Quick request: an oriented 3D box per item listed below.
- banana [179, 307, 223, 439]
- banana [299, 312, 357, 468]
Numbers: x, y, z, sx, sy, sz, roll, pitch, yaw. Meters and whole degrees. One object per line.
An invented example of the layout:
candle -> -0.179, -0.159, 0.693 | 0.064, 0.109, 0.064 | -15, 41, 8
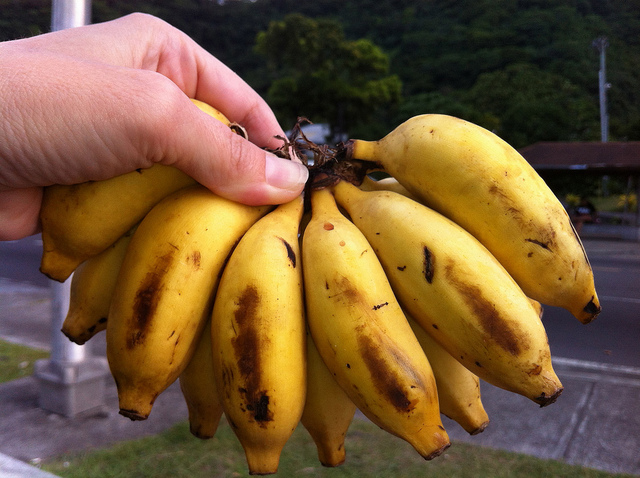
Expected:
banana -> -0.385, 0.501, 2.105 | 0.141, 0.502, 0.139 | 11, 18, 37
banana -> 0.011, 0.511, 2.055 | 0.153, 0.523, 0.158 | -7, 6, -22
